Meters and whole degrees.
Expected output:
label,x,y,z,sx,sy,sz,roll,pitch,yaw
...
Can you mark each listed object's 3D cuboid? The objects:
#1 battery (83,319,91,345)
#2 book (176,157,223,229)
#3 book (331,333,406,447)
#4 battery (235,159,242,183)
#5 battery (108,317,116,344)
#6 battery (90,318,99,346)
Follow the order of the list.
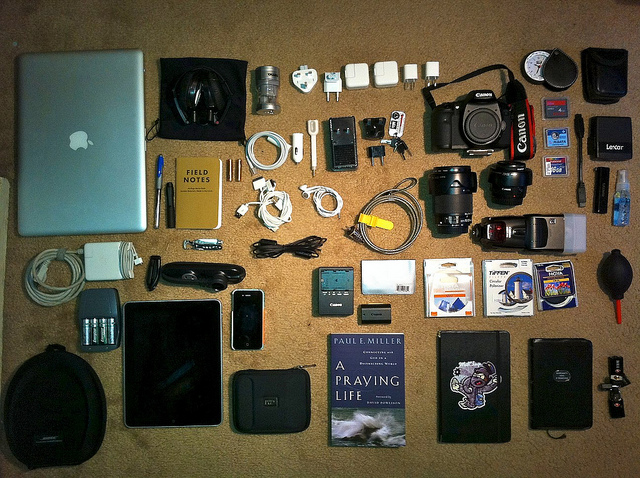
label,x,y,z,sx,sy,sz,roll,pitch,yaw
battery,-1.466,0.576,4.043,0.045,0.157,0.015,0,-3,-3
book,-0.769,-0.293,4.070,0.278,0.441,0.058,0,-3,8
book,0.303,0.941,4.053,0.454,0.695,0.054,0,-3,-3
battery,-0.520,-0.436,4.104,0.044,0.143,0.023,0,-3,-10
battery,-1.310,0.571,4.049,0.047,0.161,0.016,1,-3,-18
battery,-1.420,0.581,4.049,0.054,0.174,0.025,0,-3,-8
